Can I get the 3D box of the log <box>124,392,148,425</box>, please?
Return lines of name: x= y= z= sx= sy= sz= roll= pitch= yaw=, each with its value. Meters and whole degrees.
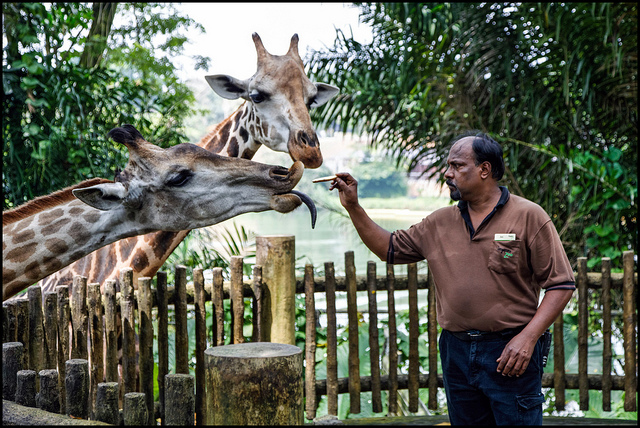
log: x=-1.809 y=1.913 z=8.872 sx=0.216 sy=0.309 sz=0.124 roll=-2 pitch=-8 yaw=-13

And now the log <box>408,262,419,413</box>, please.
log: x=1.144 y=1.487 z=10.919 sx=0.145 sy=1.811 sz=0.135 roll=-7 pitch=-14 yaw=34

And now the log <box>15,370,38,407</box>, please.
log: x=-2.939 y=1.737 z=9.002 sx=0.200 sy=0.363 sz=0.240 roll=-1 pitch=-8 yaw=-19

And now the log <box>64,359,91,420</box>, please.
log: x=-2.446 y=1.758 z=9.099 sx=0.222 sy=0.591 sz=0.327 roll=-2 pitch=-8 yaw=-15

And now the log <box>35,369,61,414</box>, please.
log: x=-2.705 y=1.766 z=9.134 sx=0.320 sy=0.462 sz=0.288 roll=-8 pitch=15 yaw=-15

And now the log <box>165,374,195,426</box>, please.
log: x=-1.380 y=1.834 z=8.905 sx=0.284 sy=0.509 sz=0.132 roll=-3 pitch=-7 yaw=-9

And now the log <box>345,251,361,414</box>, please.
log: x=0.397 y=1.410 z=10.780 sx=0.185 sy=1.914 sz=0.661 roll=-4 pitch=-7 yaw=1

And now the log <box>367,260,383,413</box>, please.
log: x=0.659 y=1.468 z=10.800 sx=0.146 sy=1.810 sz=0.446 roll=-4 pitch=-7 yaw=2

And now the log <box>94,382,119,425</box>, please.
log: x=-2.110 y=1.880 z=8.952 sx=0.217 sy=0.413 sz=0.186 roll=-2 pitch=-7 yaw=-12

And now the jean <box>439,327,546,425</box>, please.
jean: x=1.753 y=1.598 z=8.979 sx=0.970 sy=1.341 sz=0.517 roll=-4 pitch=-6 yaw=31

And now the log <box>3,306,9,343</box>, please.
log: x=-3.343 y=1.161 z=9.602 sx=0.066 sy=0.366 sz=0.057 roll=-3 pitch=-8 yaw=-10

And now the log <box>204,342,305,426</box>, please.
log: x=-0.704 y=1.615 z=8.997 sx=0.831 sy=0.864 sz=0.811 roll=1 pitch=-5 yaw=-24

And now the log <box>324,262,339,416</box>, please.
log: x=0.102 y=1.406 z=10.859 sx=0.181 sy=1.997 sz=0.178 roll=0 pitch=-29 yaw=-3

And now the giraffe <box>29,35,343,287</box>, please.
giraffe: x=-1.387 y=-0.119 z=11.856 sx=1.791 sy=3.782 sz=4.917 roll=-4 pitch=1 yaw=-31

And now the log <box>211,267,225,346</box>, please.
log: x=-1.149 y=1.062 z=10.305 sx=0.168 sy=0.860 sz=0.119 roll=-13 pitch=-16 yaw=37

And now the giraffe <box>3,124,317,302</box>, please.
giraffe: x=-1.767 y=-0.075 z=9.376 sx=3.308 sy=1.354 sz=1.484 roll=-9 pitch=37 yaw=0

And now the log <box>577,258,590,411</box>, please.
log: x=3.288 y=1.464 z=11.128 sx=0.218 sy=1.995 sz=0.219 roll=3 pitch=15 yaw=27
